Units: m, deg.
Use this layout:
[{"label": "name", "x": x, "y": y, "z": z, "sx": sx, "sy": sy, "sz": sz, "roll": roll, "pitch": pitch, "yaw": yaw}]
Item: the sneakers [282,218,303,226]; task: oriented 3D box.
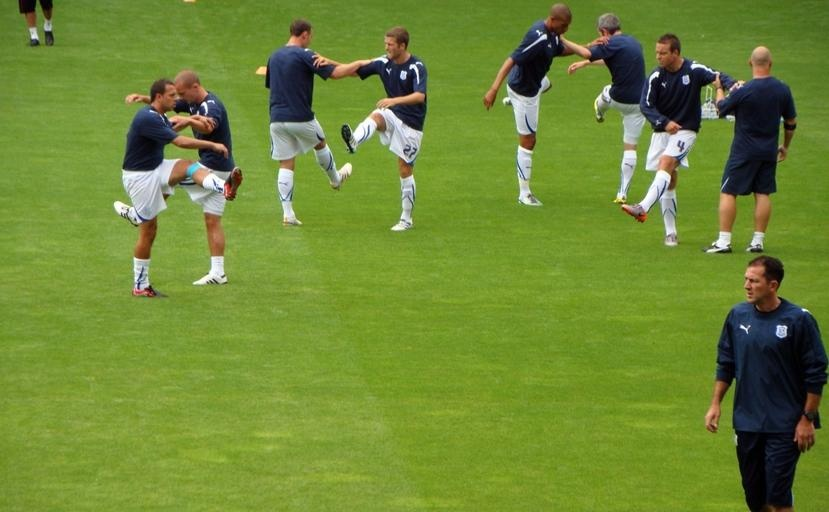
[{"label": "sneakers", "x": -1.938, "y": -0.530, "z": 23.008, "sx": 0.348, "sy": 0.090, "sz": 0.215, "roll": 1, "pitch": -5, "yaw": -5}]

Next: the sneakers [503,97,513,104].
[{"label": "sneakers", "x": 1.501, "y": -2.532, "z": 23.965, "sx": 0.234, "sy": 0.105, "sz": 0.284, "roll": 1, "pitch": 4, "yaw": 10}]

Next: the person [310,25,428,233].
[{"label": "person", "x": -0.421, "y": -1.967, "z": 22.667, "sx": 1.162, "sy": 3.085, "sz": 1.035, "roll": -1, "pitch": 21, "yaw": -1}]

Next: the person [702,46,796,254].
[{"label": "person", "x": 4.896, "y": -1.529, "z": 21.399, "sx": 1.143, "sy": 3.039, "sz": 0.757, "roll": 4, "pitch": 22, "yaw": 10}]

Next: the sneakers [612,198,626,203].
[{"label": "sneakers", "x": 3.188, "y": -0.870, "z": 22.885, "sx": 0.074, "sy": 0.083, "sz": 0.190, "roll": 39, "pitch": -14, "yaw": 2}]

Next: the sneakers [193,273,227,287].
[{"label": "sneakers", "x": -2.886, "y": 0.337, "z": 20.767, "sx": 0.531, "sy": 0.164, "sz": 0.170, "roll": -1, "pitch": -1, "yaw": 0}]

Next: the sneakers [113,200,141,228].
[{"label": "sneakers", "x": -4.214, "y": -0.601, "z": 21.400, "sx": 0.603, "sy": 0.174, "sz": 0.252, "roll": 29, "pitch": 16, "yaw": 19}]

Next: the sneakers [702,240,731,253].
[{"label": "sneakers", "x": 4.487, "y": -0.121, "z": 21.730, "sx": 0.467, "sy": 0.156, "sz": 0.153, "roll": 1, "pitch": 4, "yaw": 12}]

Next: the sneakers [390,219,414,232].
[{"label": "sneakers", "x": -0.220, "y": -0.474, "z": 22.854, "sx": 0.343, "sy": 0.123, "sz": 0.146, "roll": -3, "pitch": 8, "yaw": -20}]

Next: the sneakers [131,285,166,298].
[{"label": "sneakers", "x": -3.735, "y": 0.498, "z": 20.489, "sx": 0.480, "sy": 0.159, "sz": 0.163, "roll": 0, "pitch": 4, "yaw": -2}]

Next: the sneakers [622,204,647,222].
[{"label": "sneakers", "x": 3.294, "y": -0.645, "z": 21.990, "sx": 0.378, "sy": 0.174, "sz": 0.132, "roll": 36, "pitch": -10, "yaw": -18}]

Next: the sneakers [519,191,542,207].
[{"label": "sneakers", "x": 1.886, "y": -0.920, "z": 23.930, "sx": 0.213, "sy": 0.132, "sz": 0.367, "roll": -7, "pitch": 9, "yaw": -40}]
